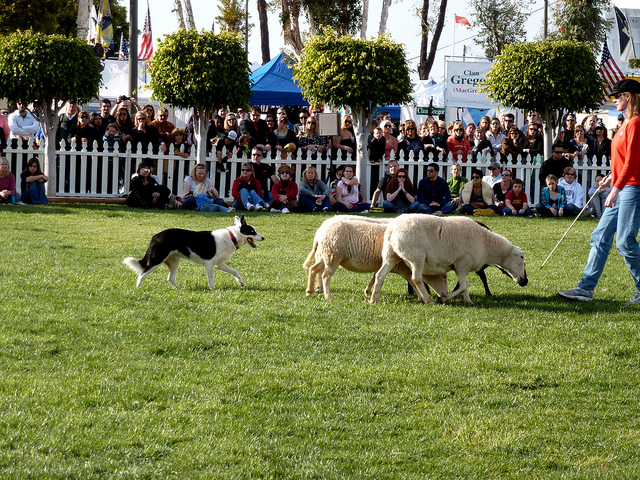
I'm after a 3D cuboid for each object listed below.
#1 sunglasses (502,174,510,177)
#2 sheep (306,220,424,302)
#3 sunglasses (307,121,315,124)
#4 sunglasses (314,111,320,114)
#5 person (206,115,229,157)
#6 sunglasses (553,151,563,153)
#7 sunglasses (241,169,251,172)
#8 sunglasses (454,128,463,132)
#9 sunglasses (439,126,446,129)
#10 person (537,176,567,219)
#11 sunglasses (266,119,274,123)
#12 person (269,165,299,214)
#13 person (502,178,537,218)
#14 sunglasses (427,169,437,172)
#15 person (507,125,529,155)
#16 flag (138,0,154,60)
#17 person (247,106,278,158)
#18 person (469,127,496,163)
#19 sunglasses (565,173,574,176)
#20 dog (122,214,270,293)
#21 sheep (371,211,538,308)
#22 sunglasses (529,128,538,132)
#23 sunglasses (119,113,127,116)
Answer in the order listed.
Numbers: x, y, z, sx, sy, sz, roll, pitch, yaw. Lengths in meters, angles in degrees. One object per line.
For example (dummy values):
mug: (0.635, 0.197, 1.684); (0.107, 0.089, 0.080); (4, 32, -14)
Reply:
sunglasses: (3.997, -1.374, 23.913); (0.138, 0.055, 0.116); (2, 4, 1)
sheep: (0.728, 0.267, 16.493); (1.921, 1.204, 0.630); (1, -4, -10)
sunglasses: (-0.206, -2.695, 25.732); (0.153, 0.063, 0.111); (2, 4, -8)
sunglasses: (-0.080, -3.101, 27.234); (0.120, 0.031, 0.112); (-4, 6, -36)
person: (-2.372, -2.358, 25.333); (0.423, 0.948, 1.052); (3, 4, 15)
sunglasses: (5.263, -1.928, 24.538); (0.174, 0.033, 0.115); (2, 4, -9)
sunglasses: (-1.576, -1.460, 23.590); (0.173, 0.059, 0.118); (3, 4, 8)
sunglasses: (3.273, -2.579, 26.298); (0.193, 0.091, 0.087); (3, 4, 7)
sunglasses: (2.943, -2.663, 26.699); (0.126, 0.037, 0.155); (1, 4, -14)
person: (5.098, -0.915, 24.367); (0.859, 1.194, 0.811); (0, 0, 17)
sunglasses: (-1.149, -2.735, 25.780); (0.079, 0.077, 0.231); (4, 4, 29)
person: (-0.779, -1.087, 23.637); (0.565, 0.986, 0.881); (3, 4, 8)
person: (4.277, -0.919, 24.277); (0.770, 0.944, 0.778); (-2, 6, -3)
sunglasses: (2.358, -1.461, 23.621); (0.136, 0.055, 0.110); (3, 4, 9)
person: (4.654, -2.306, 26.147); (0.491, 0.774, 0.337); (2, 14, -5)
flag: (-7.140, -8.421, 45.500); (0.500, 2.161, 1.946); (1, 4, -10)
person: (-1.292, -2.411, 25.040); (0.673, 1.132, 1.104); (2, 4, -3)
person: (3.841, -2.200, 25.992); (0.539, 0.828, 0.723); (3, 4, 7)
sunglasses: (5.383, -1.407, 23.999); (0.192, 0.054, 0.077); (1, 4, -16)
dog: (-1.971, 0.133, 17.258); (2.050, 1.062, 2.525); (1, 4, -10)
sheep: (2.014, 0.334, 16.371); (2.445, 1.339, 0.659); (5, -3, -14)
sunglasses: (5.057, -2.581, 26.322); (0.186, 0.082, 0.065); (0, 4, -29)
sunglasses: (-4.419, -2.789, 24.899); (0.168, 0.062, 0.123); (1, 4, -13)
